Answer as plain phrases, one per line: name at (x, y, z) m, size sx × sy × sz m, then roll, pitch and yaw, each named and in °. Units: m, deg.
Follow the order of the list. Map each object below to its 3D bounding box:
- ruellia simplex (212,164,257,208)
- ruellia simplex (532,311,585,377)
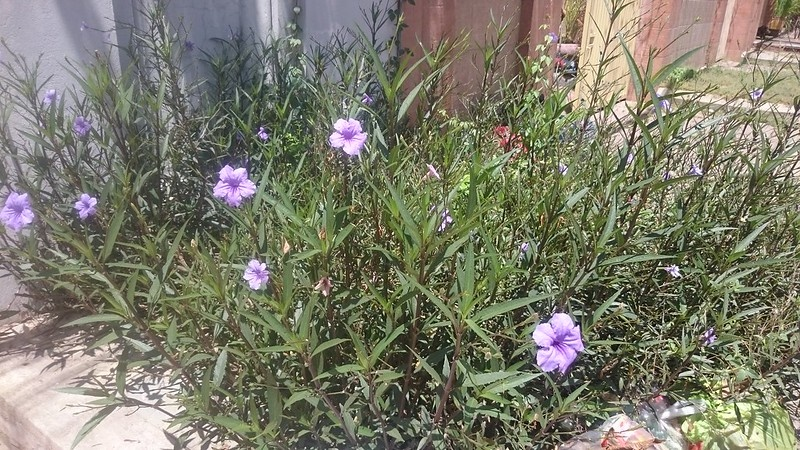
ruellia simplex at (-0.800, -0.179, 2.550) m, size 0.188 × 0.210 × 0.170 m, roll -6°, pitch 36°, yaw -7°
ruellia simplex at (0.736, 0.543, 2.394) m, size 0.256 × 0.107 × 0.289 m, roll -33°, pitch 6°, yaw -23°
